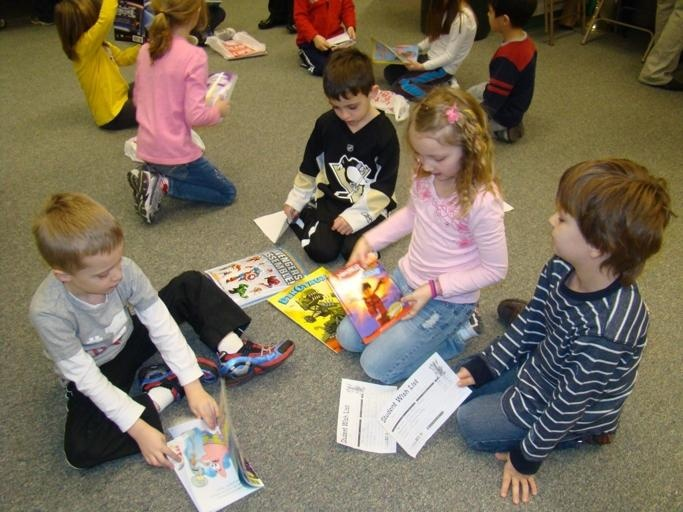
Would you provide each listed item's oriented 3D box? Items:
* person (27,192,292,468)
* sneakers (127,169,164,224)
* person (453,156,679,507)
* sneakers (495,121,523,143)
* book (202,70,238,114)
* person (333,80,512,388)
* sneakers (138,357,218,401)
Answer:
[{"bbox_3d":[-0.625,0.257,2.099,0.924,0.886,0.767,-6,41,-23],"label":"person"},{"bbox_3d":[-0.981,-0.322,2.932,0.129,0.342,0.163,-8,5,9],"label":"sneakers"},{"bbox_3d":[0.792,0.261,1.963,0.763,0.978,0.551,-30,51,-28],"label":"person"},{"bbox_3d":[1.053,-0.809,3.616,0.160,0.168,0.106,-17,15,-3],"label":"sneakers"},{"bbox_3d":[-0.654,-0.894,3.046,0.129,0.058,0.248,2,44,12],"label":"book"},{"bbox_3d":[0.290,-0.083,2.280,0.612,1.081,0.547,-7,31,-7],"label":"person"},{"bbox_3d":[-0.625,0.471,2.236,0.370,0.140,0.171,-2,35,14],"label":"sneakers"}]
